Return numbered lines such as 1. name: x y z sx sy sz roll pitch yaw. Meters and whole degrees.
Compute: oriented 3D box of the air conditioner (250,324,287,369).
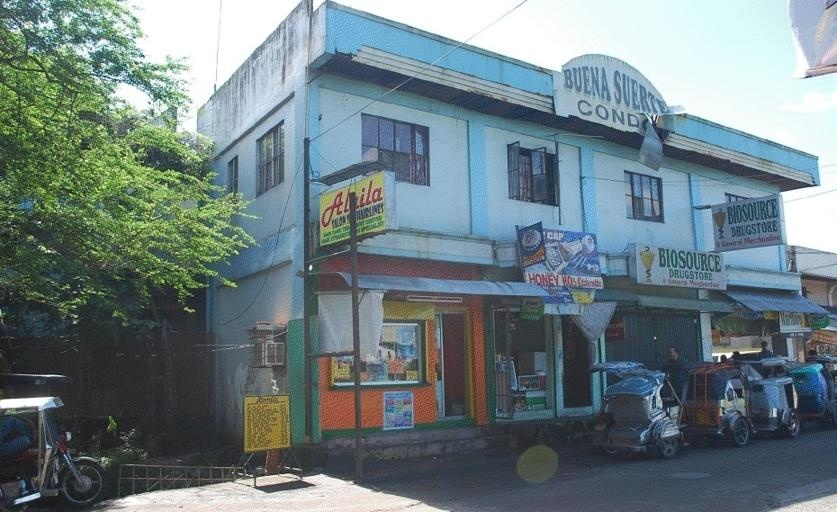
1. air conditioner: -4.780 2.750 23.672 1.016 1.173 1.119 4 -2 36
